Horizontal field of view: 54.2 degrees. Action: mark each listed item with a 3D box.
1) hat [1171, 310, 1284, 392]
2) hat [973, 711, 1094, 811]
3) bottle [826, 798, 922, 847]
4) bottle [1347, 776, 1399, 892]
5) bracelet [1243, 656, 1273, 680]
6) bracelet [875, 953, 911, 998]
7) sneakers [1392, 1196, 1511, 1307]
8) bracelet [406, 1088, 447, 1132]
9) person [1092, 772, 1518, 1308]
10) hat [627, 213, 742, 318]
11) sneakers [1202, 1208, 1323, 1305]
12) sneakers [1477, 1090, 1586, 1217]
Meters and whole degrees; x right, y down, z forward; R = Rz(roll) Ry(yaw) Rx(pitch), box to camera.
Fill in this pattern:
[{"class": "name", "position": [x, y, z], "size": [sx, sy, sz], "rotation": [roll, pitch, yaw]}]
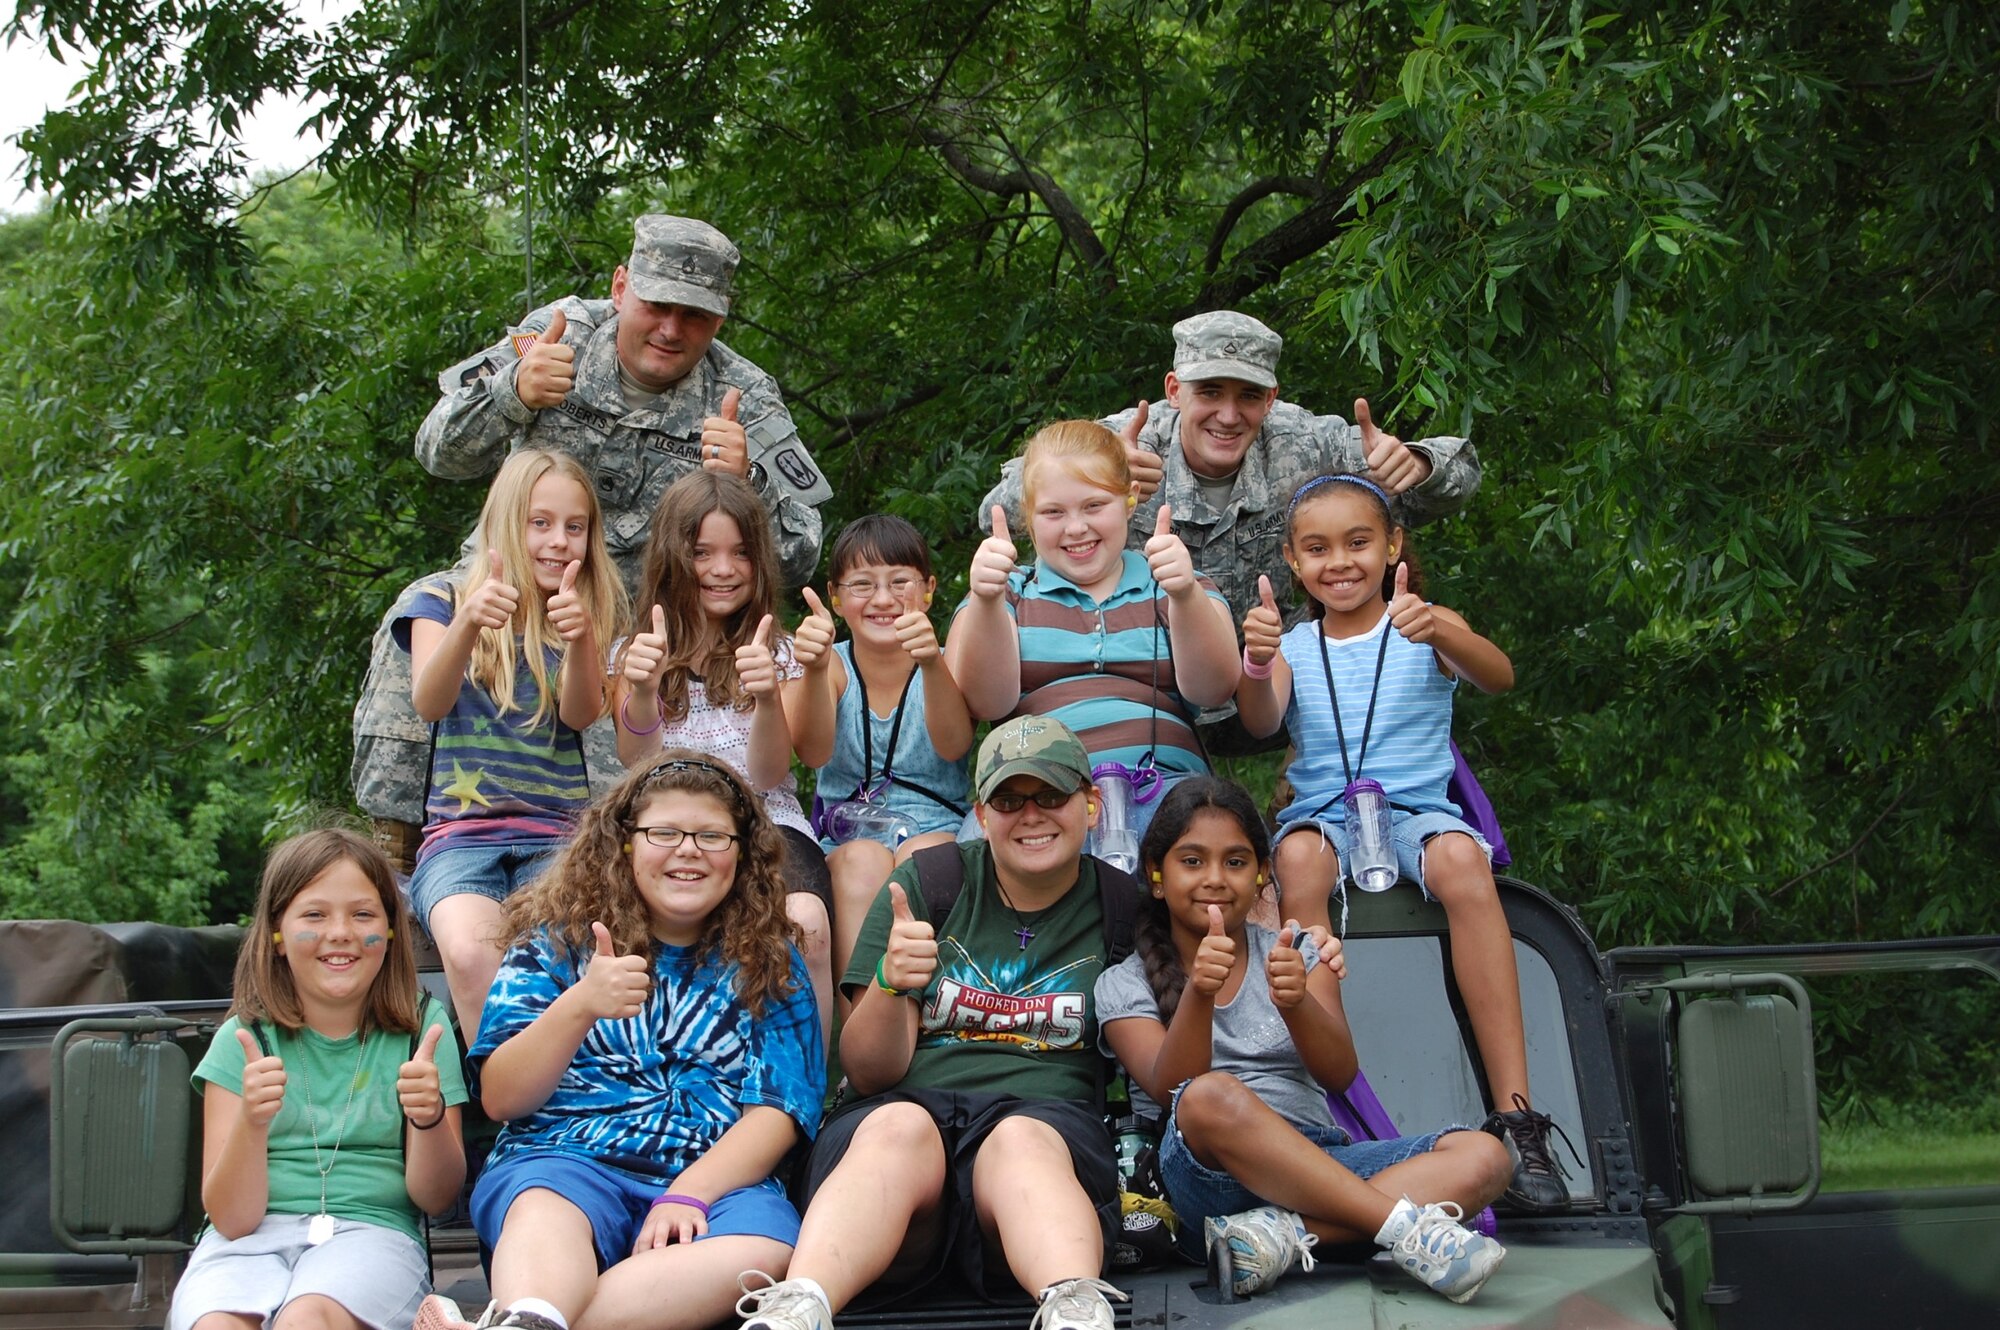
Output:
[{"class": "hat", "position": [0.818, -1.147, 7.068], "size": [0.373, 0.326, 0.217], "rotation": [-3, -9, 2]}, {"class": "hat", "position": [0.078, 0.282, 5.718], "size": [0.319, 0.229, 0.457], "rotation": [-8, -1, -1]}, {"class": "bottle", "position": [-0.449, 0.546, 6.619], "size": [0.232, 0.156, 0.102], "rotation": [5, -16, 13]}, {"class": "bottle", "position": [1.154, 0.549, 6.056], "size": [0.101, 0.313, 0.111], "rotation": [-16, -54, 12]}, {"class": "bracelet", "position": [0.836, 0.018, 6.331], "size": [0.056, 0.049, 0.066], "rotation": [16, 8, 17]}, {"class": "bracelet", "position": [-0.304, 0.871, 5.377], "size": [0.043, 0.112, 0.100], "rotation": [-13, -6, 6]}, {"class": "sneakers", "position": [1.153, 1.524, 5.128], "size": [0.168, 0.154, 0.351], "rotation": [52, -21, -25]}, {"class": "bracelet", "position": [-1.564, 1.233, 5.323], "size": [0.095, 0.111, 0.043], "rotation": [-1, 4, 1]}, {"class": "person", "position": [0.822, 1.005, 5.468], "size": [0.961, 1.424, 1.294], "rotation": [-6, -3, -17]}, {"class": "hat", "position": [-1.136, -1.444, 6.995], "size": [0.362, 0.356, 0.247], "rotation": [0, -9, -19]}, {"class": "sneakers", "position": [0.699, 1.563, 5.184], "size": [0.278, 0.168, 0.118], "rotation": [-7, -1, -40]}, {"class": "sneakers", "position": [1.532, 1.393, 5.585], "size": [0.161, 0.205, 0.499], "rotation": [-3, 10, 8]}]
